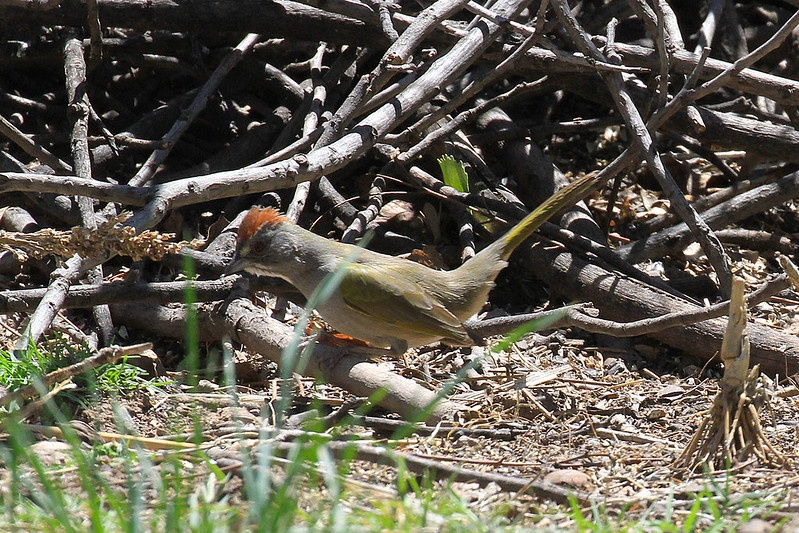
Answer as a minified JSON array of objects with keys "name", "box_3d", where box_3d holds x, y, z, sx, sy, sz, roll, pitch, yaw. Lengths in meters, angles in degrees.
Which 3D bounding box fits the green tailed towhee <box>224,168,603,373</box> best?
[{"name":"green tailed towhee","box_3d":[-0.023,-0.046,5.712,2.243,1.505,0.630,9,19,-7]}]
